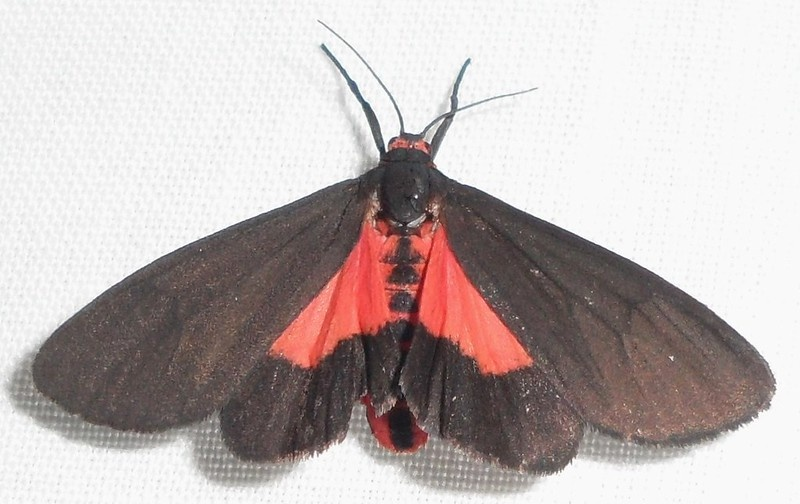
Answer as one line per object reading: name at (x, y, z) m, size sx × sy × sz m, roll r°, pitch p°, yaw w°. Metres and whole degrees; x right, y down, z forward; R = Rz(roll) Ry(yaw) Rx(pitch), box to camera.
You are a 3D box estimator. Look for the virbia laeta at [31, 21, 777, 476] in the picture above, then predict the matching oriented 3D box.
virbia laeta at (0.013, 0.098, 4.241) m, size 3.302 × 2.140 × 0.992 m, roll 0°, pitch 20°, yaw 3°
